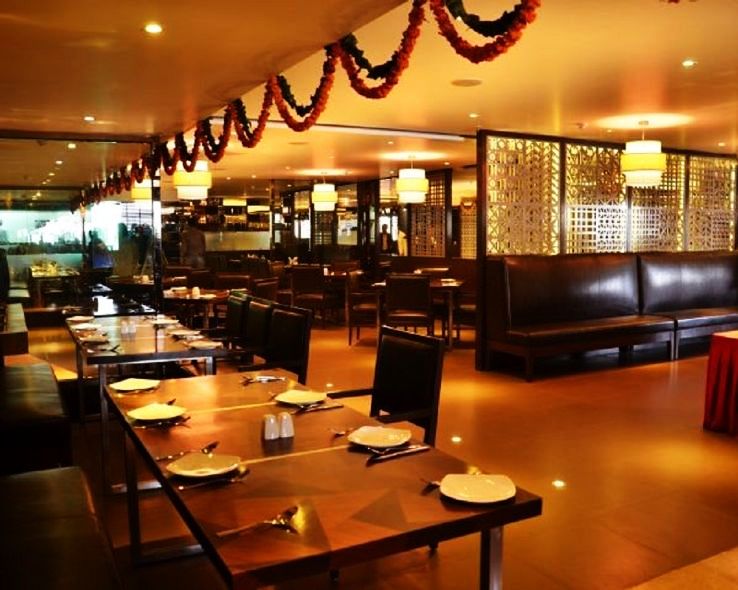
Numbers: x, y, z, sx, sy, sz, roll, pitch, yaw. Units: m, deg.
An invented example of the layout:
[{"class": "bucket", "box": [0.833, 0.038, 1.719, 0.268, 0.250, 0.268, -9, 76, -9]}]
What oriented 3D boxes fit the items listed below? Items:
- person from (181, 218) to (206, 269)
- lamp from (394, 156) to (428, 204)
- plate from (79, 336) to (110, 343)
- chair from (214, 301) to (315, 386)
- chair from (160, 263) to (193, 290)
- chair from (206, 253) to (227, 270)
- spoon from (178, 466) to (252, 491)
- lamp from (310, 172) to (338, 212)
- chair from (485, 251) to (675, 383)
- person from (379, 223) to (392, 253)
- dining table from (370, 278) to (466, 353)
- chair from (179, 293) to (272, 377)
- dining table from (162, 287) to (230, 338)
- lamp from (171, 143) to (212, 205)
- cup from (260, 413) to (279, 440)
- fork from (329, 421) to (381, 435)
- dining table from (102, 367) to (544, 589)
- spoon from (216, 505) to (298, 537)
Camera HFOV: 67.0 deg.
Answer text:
[{"class": "person", "box": [-3.496, -0.959, 11.183, 0.418, 0.807, 0.598, -4, 8, -31]}, {"class": "lamp", "box": [0.788, -2.029, 10.182, 0.501, 0.603, 0.609, 2, 7, 19]}, {"class": "plate", "box": [-1.850, 0.310, 3.775, 0.167, 0.016, 0.195, -3, 7, -27]}, {"class": "chair", "box": [-0.764, 0.347, 4.009, 0.332, 0.390, 0.918, 0, 3, -24]}, {"class": "chair", "box": [-3.063, -0.286, 8.874, 0.428, 0.575, 0.469, -1, 1, -30]}, {"class": "chair", "box": [-4.464, -0.942, 16.320, 0.516, 0.439, 1.905, -2, 6, -17]}, {"class": "spoon", "box": [-0.487, 0.577, 1.750, 0.227, 0.037, 0.038, 0, 21, -14]}, {"class": "lamp", "box": [-1.007, -2.343, 12.691, 0.765, 0.684, 0.738, 0, 3, -4]}, {"class": "chair", "box": [2.606, 0.171, 7.128, 2.403, 1.367, 0.955, -3, 7, -26]}, {"class": "person", "box": [0.427, -1.397, 13.863, 0.208, 0.711, 0.609, 2, 7, 18]}, {"class": "dining table", "box": [0.732, 0.169, 8.149, 0.983, 0.842, 1.248, 1, 5, 16]}, {"class": "chair", "box": [-1.054, 0.295, 4.619, 0.599, 0.876, 0.649, 6, 3, 43]}, {"class": "dining table", "box": [-2.010, 0.182, 6.439, 0.578, 0.524, 0.576, 2, 3, 23]}, {"class": "lamp", "box": [-2.590, -1.735, 8.139, 0.473, 0.585, 0.918, -2, 7, -19]}, {"class": "cup", "box": [-0.370, 0.494, 2.098, 0.079, 0.087, 0.073, 0, 3, 0]}, {"class": "fork", "box": [-0.046, 0.529, 2.240, 0.056, 0.040, 0.256, 17, 11, 43]}, {"class": "dining table", "box": [-0.284, 0.661, 2.034, 0.921, 0.386, 1.481, -4, 7, -32]}, {"class": "spoon", "box": [-0.295, 0.608, 1.510, 0.209, 0.013, 0.137, -1, 6, -8]}]
